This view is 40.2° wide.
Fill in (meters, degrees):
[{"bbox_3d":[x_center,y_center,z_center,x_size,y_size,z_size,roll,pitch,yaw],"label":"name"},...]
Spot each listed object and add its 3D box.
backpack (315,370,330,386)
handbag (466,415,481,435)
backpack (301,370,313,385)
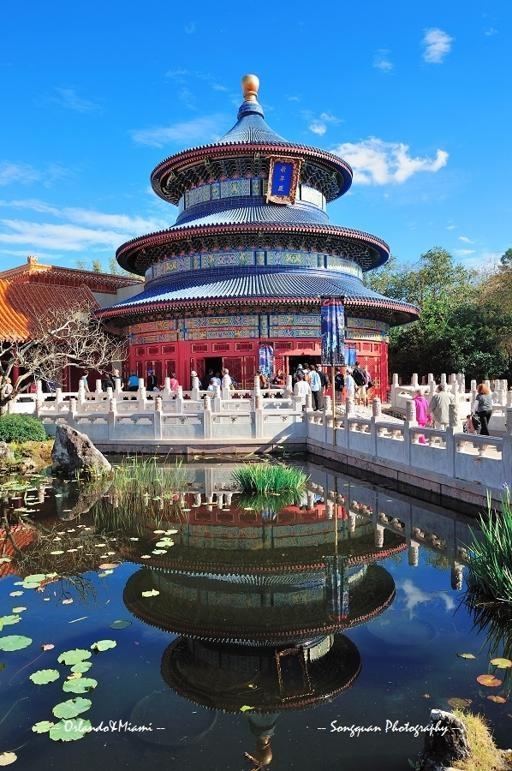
[{"bbox_3d":[1.620,-0.278,17.096,0.290,0.636,0.643,-4,5,10],"label":"backpack"},{"bbox_3d":[3.368,0.612,10.819,0.185,0.348,0.240,-5,13,-17],"label":"handbag"},{"bbox_3d":[1.234,-0.194,16.697,0.350,0.405,0.268,1,-4,-1],"label":"backpack"}]
